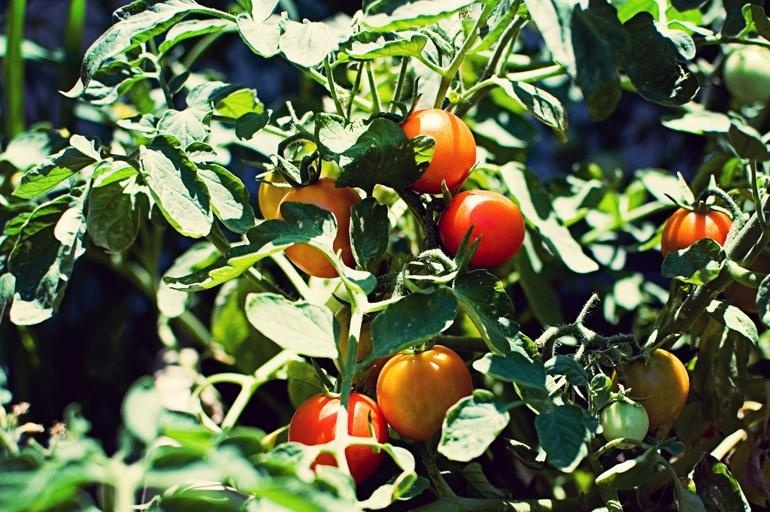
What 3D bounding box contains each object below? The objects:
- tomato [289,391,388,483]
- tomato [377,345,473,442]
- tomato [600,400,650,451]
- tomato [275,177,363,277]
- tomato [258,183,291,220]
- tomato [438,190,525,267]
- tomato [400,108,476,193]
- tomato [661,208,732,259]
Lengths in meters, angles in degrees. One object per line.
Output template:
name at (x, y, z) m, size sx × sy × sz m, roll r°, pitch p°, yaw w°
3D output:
tomato at (-0.051, 0.160, 0.729) m, size 0.085 × 0.089 × 0.088 m, roll -3°, pitch -5°, yaw -3°
tomato at (0.029, 0.117, 0.718) m, size 0.078 × 0.083 × 0.079 m, roll -11°, pitch -9°, yaw -9°
tomato at (0.216, 0.150, 0.712) m, size 0.046 × 0.048 × 0.047 m, roll -2°, pitch 7°, yaw 6°
tomato at (-0.058, -0.022, 0.701) m, size 0.070 × 0.089 × 0.073 m, roll 0°, pitch 8°, yaw -1°
tomato at (-0.109, -0.048, 0.762) m, size 0.021 × 0.039 × 0.032 m, roll -2°, pitch 13°, yaw 18°
tomato at (0.097, -0.023, 0.736) m, size 0.070 × 0.083 × 0.070 m, roll -6°, pitch -14°, yaw 18°
tomato at (0.051, -0.096, 0.756) m, size 0.071 × 0.074 × 0.068 m, roll -7°, pitch 2°, yaw -25°
tomato at (0.294, -0.026, 0.761) m, size 0.052 × 0.059 × 0.054 m, roll -1°, pitch 4°, yaw -12°
